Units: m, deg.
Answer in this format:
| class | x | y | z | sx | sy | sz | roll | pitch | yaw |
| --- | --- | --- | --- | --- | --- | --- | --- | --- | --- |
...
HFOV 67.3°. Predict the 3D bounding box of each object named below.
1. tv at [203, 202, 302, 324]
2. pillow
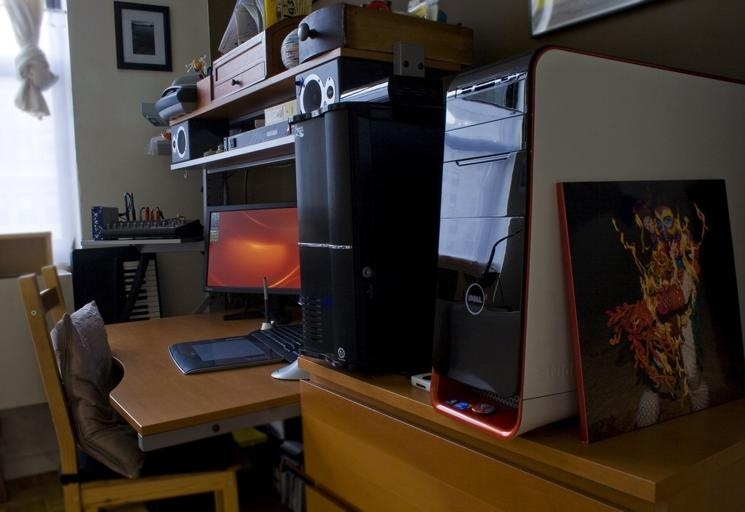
| class | x | y | z | sx | sy | sz | roll | pitch | yaw |
| --- | --- | --- | --- | --- | --- | --- | --- | --- | --- |
| tv | -0.445 | 0.017 | 2.335 | 0.585 | 0.455 | 0.178 | 1 | 5 | 23 |
| pillow | -0.833 | 0.391 | 1.681 | 0.123 | 0.441 | 0.422 | -7 | 6 | -7 |
